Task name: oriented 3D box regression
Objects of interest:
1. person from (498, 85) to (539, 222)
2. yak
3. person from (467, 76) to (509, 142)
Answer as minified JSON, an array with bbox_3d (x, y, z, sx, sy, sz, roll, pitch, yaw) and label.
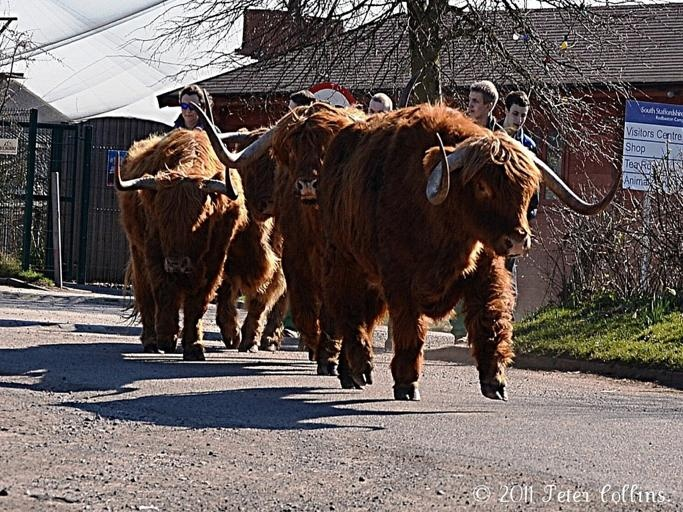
[{"bbox_3d":[1.942,-1.161,9.914,0.382,1.649,0.364,1,10,16],"label":"person"},{"bbox_3d":[-0.320,-0.177,7.240,1.953,2.802,4.423,2,8,-17],"label":"yak"},{"bbox_3d":[1.526,-1.338,9.600,0.394,1.042,0.388,3,11,30],"label":"person"}]
